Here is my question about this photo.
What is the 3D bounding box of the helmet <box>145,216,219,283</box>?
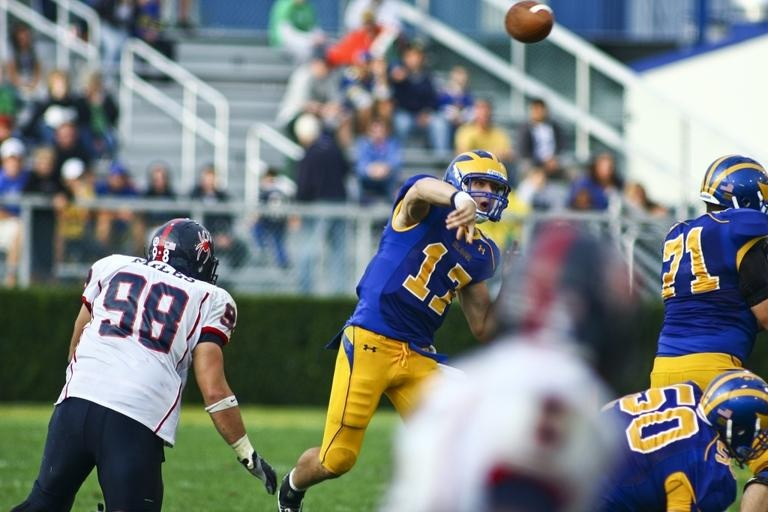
[{"bbox_3d":[-1.789,-0.049,13.668,0.479,0.585,0.657,7,-10,40],"label":"helmet"}]
